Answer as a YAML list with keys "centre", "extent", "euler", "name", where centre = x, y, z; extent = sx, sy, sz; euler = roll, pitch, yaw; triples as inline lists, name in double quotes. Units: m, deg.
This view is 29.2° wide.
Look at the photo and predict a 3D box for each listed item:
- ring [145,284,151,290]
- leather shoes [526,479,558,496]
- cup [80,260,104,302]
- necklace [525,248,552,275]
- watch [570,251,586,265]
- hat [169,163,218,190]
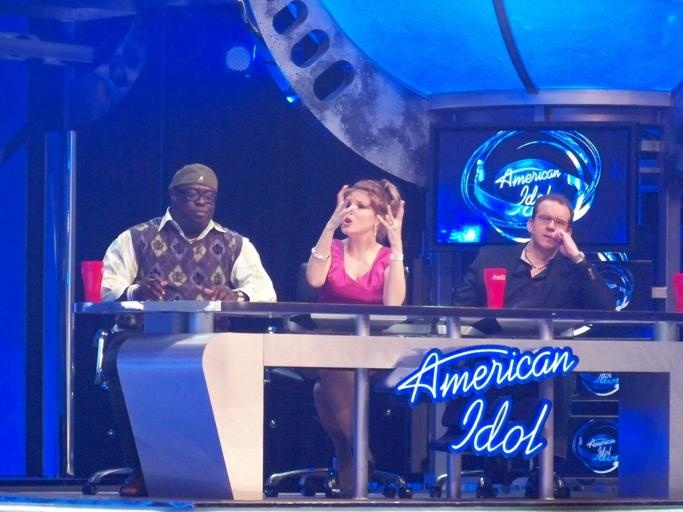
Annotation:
- centre: [-0.973, 0.157, 6.616]
  extent: [0.044, 0.026, 0.010]
  euler: [0, 8, 4]
  name: "ring"
- centre: [1.144, 1.342, 7.528]
  extent: [0.142, 0.135, 0.144]
  euler: [-3, -5, 36]
  name: "leather shoes"
- centre: [-1.258, 0.132, 6.628]
  extent: [0.103, 0.240, 0.214]
  euler: [1, -10, -11]
  name: "cup"
- centre: [1.163, 0.037, 7.793]
  extent: [0.114, 0.143, 0.092]
  euler: [2, -11, 13]
  name: "necklace"
- centre: [1.361, 0.012, 7.457]
  extent: [0.079, 0.054, 0.076]
  euler: [-3, 1, 0]
  name: "watch"
- centre: [-0.842, -0.448, 7.682]
  extent: [0.196, 0.115, 0.200]
  euler: [-7, -10, 34]
  name: "hat"
